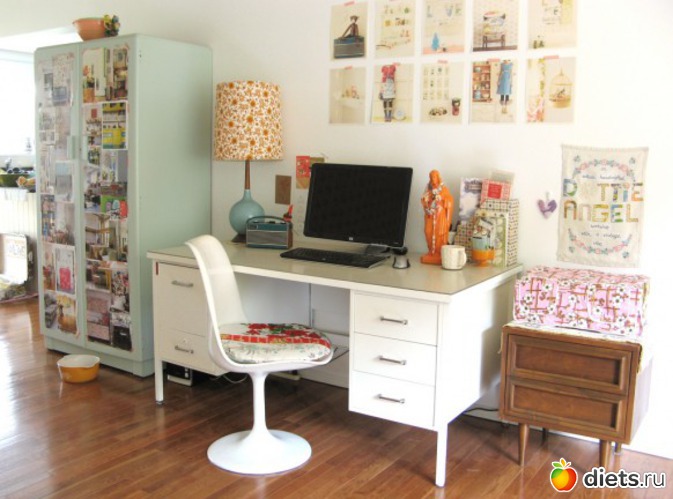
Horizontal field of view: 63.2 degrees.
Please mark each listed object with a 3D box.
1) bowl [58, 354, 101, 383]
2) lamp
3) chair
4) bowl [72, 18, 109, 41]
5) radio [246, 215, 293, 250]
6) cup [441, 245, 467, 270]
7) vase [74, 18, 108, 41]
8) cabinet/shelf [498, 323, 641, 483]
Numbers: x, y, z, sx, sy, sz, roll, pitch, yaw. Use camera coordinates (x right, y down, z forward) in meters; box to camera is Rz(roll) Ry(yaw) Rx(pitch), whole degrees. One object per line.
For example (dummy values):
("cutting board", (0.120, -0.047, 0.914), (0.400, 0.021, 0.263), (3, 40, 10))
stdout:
("bowl", (-1.560, 0.718, 3.319), (0.214, 0.124, 0.263), (-8, 15, -33))
("lamp", (-0.491, -0.522, 3.242), (0.433, 0.921, 0.289), (-5, 13, -24))
("chair", (-0.357, 0.480, 2.581), (0.640, 0.999, 0.611), (0, 6, -9))
("bowl", (-1.563, -1.384, 3.497), (0.170, 0.098, 0.172), (-1, 10, 0))
("radio", (-0.374, -0.099, 3.133), (0.251, 0.186, 0.149), (3, 13, 13))
("cup", (0.553, 0.040, 2.561), (0.084, 0.089, 0.129), (-1, 8, -4))
("vase", (-1.564, -1.393, 3.499), (0.169, 0.096, 0.171), (-3, 11, -11))
("cabinet/shelf", (1.067, 0.636, 2.524), (0.550, 0.648, 0.441), (4, 13, 23))
